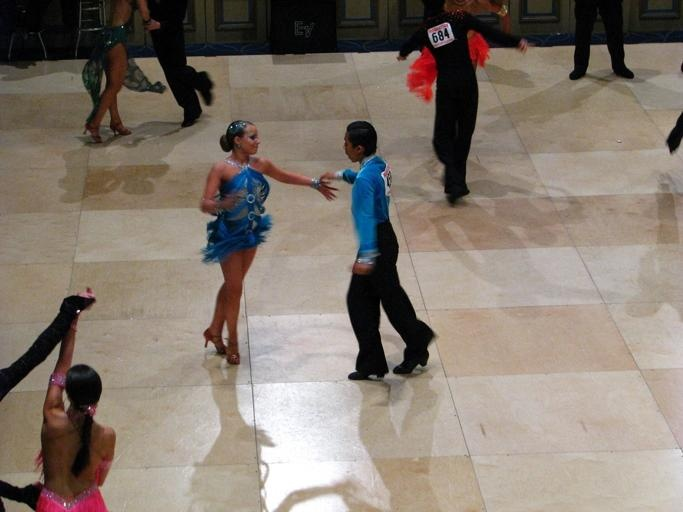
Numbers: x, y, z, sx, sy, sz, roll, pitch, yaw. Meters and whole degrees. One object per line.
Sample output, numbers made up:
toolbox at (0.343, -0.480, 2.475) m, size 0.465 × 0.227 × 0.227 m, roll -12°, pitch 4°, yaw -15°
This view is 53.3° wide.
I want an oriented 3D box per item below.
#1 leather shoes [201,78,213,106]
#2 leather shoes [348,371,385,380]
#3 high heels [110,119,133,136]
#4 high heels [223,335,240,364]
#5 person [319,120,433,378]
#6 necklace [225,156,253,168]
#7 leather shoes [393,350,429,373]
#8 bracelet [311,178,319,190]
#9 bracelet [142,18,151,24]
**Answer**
leather shoes at (-1.657, -2.012, 8.321) m, size 0.099 × 0.302 × 0.235 m, roll 1°, pitch 10°, yaw 9°
leather shoes at (0.162, 0.904, 5.106) m, size 0.298 × 0.087 × 0.120 m, roll -1°, pitch -8°, yaw 13°
high heels at (-2.611, -1.553, 8.222) m, size 0.290 × 0.216 × 0.126 m, roll -17°, pitch 26°, yaw -14°
high heels at (-0.840, 0.718, 5.218) m, size 0.087 × 0.102 × 0.261 m, roll -3°, pitch 31°, yaw -7°
person at (0.304, 0.021, 4.855) m, size 0.606 × 1.885 × 0.429 m, roll -1°, pitch 21°, yaw 5°
necklace at (-0.747, -0.659, 4.859) m, size 0.157 × 0.072 × 0.102 m, roll -2°, pitch 19°, yaw 1°
leather shoes at (0.507, 0.829, 5.173) m, size 0.359 × 0.112 × 0.156 m, roll -22°, pitch -29°, yaw 37°
bracelet at (-0.202, -0.567, 5.249) m, size 0.065 × 0.086 × 0.081 m, roll -1°, pitch -3°, yaw 2°
bracelet at (-2.239, -2.686, 7.842) m, size 0.072 × 0.062 × 0.074 m, roll 4°, pitch 55°, yaw -3°
